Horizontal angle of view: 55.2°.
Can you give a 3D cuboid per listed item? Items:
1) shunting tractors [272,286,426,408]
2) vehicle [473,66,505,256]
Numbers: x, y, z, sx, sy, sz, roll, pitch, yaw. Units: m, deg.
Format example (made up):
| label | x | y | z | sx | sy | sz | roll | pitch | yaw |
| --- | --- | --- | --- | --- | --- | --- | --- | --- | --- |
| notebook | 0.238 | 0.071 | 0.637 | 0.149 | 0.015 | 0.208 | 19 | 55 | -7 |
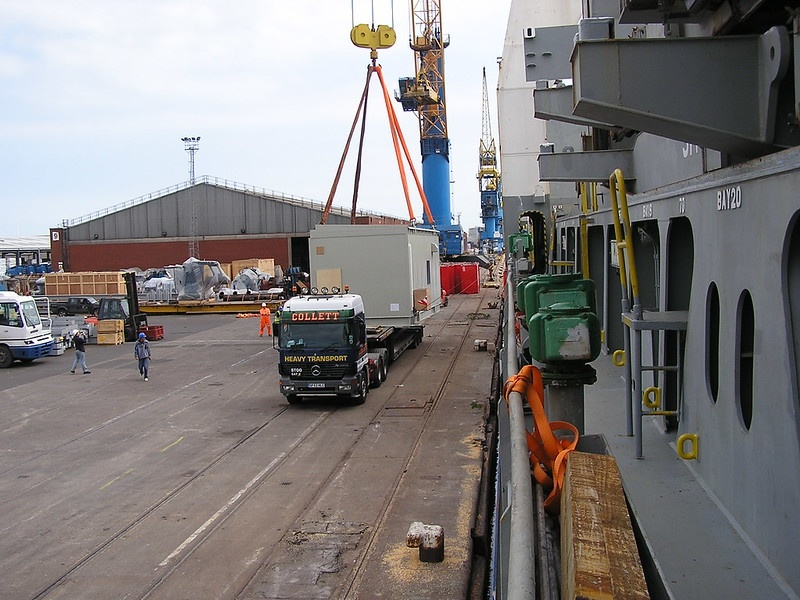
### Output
| label | x | y | z | sx | sy | sz | roll | pitch | yaw |
| --- | --- | --- | --- | --- | --- | --- | --- | --- | --- |
| shunting tractors | -1.330 | 0.880 | 22.200 | 2.071 | 3.096 | 7.529 | -2 | 6 | 10 |
| vehicle | 10.738 | -16.936 | 93.768 | 4.144 | 22.229 | 4.927 | -2 | 2 | 10 |
